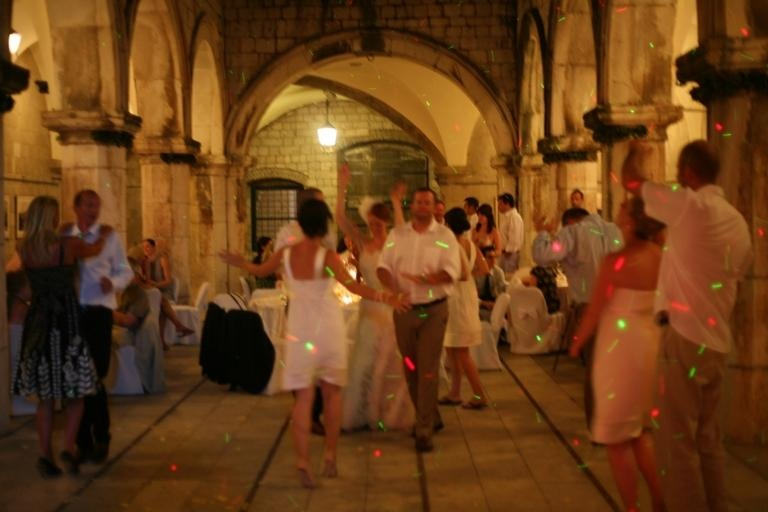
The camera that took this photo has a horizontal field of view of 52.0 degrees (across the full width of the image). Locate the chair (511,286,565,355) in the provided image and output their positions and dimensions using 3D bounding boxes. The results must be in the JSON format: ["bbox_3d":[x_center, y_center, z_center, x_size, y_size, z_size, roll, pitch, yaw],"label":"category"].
[{"bbox_3d":[1.962,0.764,10.201,0.623,0.949,0.740,-9,15,-21],"label":"chair"}]

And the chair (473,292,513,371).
[{"bbox_3d":[1.216,0.873,9.429,0.530,0.832,0.589,3,5,-17],"label":"chair"}]

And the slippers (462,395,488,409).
[{"bbox_3d":[0.928,1.451,7.809,0.224,0.102,0.130,1,1,11],"label":"slippers"}]

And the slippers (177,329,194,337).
[{"bbox_3d":[-2.723,1.035,10.675,0.275,0.091,0.113,-8,-11,30],"label":"slippers"}]

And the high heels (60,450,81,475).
[{"bbox_3d":[-2.553,1.662,6.405,0.092,0.264,0.114,-20,-2,-1],"label":"high heels"}]

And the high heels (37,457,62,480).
[{"bbox_3d":[-2.752,1.690,6.368,0.270,0.146,0.122,3,10,23],"label":"high heels"}]

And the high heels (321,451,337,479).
[{"bbox_3d":[-0.445,1.676,6.371,0.083,0.257,0.108,-2,11,0],"label":"high heels"}]

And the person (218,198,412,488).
[{"bbox_3d":[-0.542,0.670,6.272,1.054,2.219,0.556,-2,9,-11],"label":"person"}]

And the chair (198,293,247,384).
[{"bbox_3d":[-1.759,0.934,8.482,0.428,1.011,0.222,12,-29,-23],"label":"chair"}]

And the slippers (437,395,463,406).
[{"bbox_3d":[0.678,1.451,7.927,0.214,0.061,0.096,3,-3,-8],"label":"slippers"}]

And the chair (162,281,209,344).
[{"bbox_3d":[-2.802,0.809,11.179,0.599,0.919,0.658,3,-5,4],"label":"chair"}]

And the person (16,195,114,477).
[{"bbox_3d":[-2.769,0.633,6.676,0.705,2.300,0.818,0,2,-7],"label":"person"}]

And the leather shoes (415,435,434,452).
[{"bbox_3d":[0.366,1.624,6.830,0.134,0.091,0.140,1,2,2],"label":"leather shoes"}]
